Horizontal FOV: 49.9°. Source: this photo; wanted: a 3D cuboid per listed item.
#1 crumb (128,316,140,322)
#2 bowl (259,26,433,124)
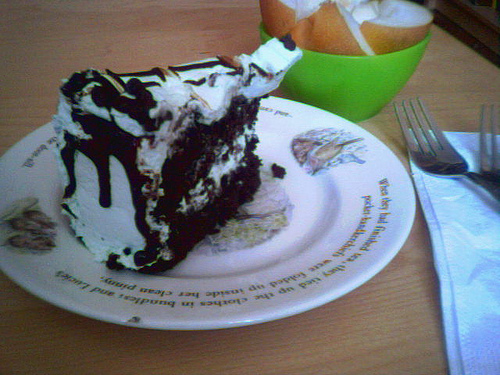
[{"bbox_3d":[-0.144,0.163,0.668,0.011,0.003,0.008,25,72,6],"label":"crumb"},{"bbox_3d":[0.180,-0.214,1.088,0.323,0.118,0.229,-2,31,-6],"label":"bowl"}]
